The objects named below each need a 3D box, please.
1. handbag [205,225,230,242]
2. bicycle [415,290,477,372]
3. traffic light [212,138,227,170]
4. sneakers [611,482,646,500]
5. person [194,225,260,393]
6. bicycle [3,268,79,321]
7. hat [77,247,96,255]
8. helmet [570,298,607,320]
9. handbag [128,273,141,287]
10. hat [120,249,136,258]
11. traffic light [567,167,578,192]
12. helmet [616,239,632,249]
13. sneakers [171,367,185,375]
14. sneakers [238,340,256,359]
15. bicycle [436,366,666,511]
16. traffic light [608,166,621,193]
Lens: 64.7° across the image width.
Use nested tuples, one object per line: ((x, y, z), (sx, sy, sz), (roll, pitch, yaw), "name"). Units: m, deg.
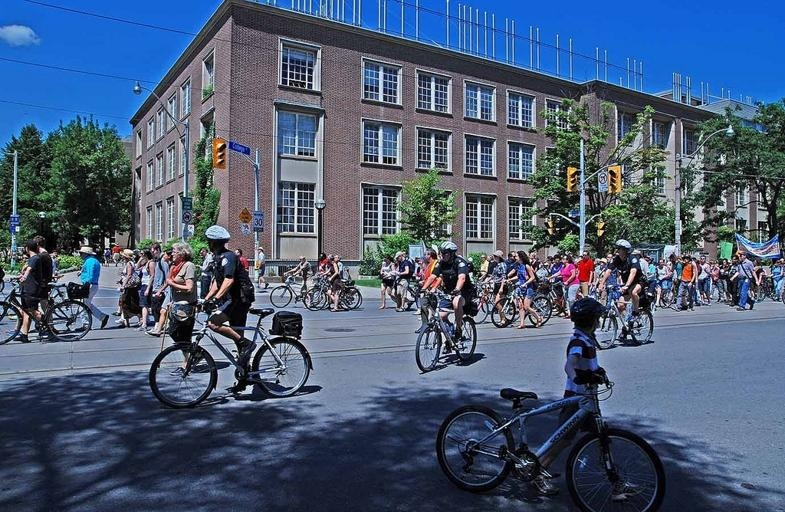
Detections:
((-2.809, -0.354, 9.899), (0.385, 0.207, 0.258), (-1, 9, 1), "handbag")
((0.712, 1.613, 12.137), (0.838, 1.099, 1.832), (-8, -9, 36), "bicycle")
((-7.008, -4.198, 25.338), (0.411, 1.321, 1.143), (1, -3, -9), "traffic light")
((2.378, 2.428, 6.396), (0.244, 0.168, 0.088), (-1, -3, 13), "sneakers")
((-2.560, 0.832, 9.798), (0.761, 2.632, 0.631), (2, -3, -17), "person")
((-8.715, 0.984, 15.405), (2.233, 1.281, 1.088), (5, -7, -35), "bicycle")
((-7.322, -0.119, 15.046), (0.297, 0.103, 0.328), (4, -4, -2), "hat")
((2.194, 0.621, 7.035), (0.340, 0.166, 0.241), (-30, 25, -35), "helmet")
((-6.516, 0.591, 15.687), (0.241, 0.175, 0.340), (-34, 1, -19), "handbag")
((-6.637, -0.050, 15.659), (0.322, 0.108, 0.322), (24, -3, -7), "hat")
((8.067, -3.466, 28.099), (0.290, 1.043, 0.894), (-1, -4, 37), "traffic light")
((5.259, -0.308, 14.141), (0.356, 0.171, 0.246), (8, -4, -26), "helmet")
((-3.207, 1.724, 9.291), (0.267, 0.112, 0.085), (5, -2, 9), "sneakers")
((-2.244, 1.422, 9.619), (0.242, 0.271, 0.113), (2, -3, -13), "sneakers")
((1.756, 2.060, 7.211), (2.437, 1.396, 1.196), (1, -4, 19), "bicycle")
((9.552, -3.444, 26.941), (0.486, 1.183, 0.807), (0, -3, 10), "traffic light")
